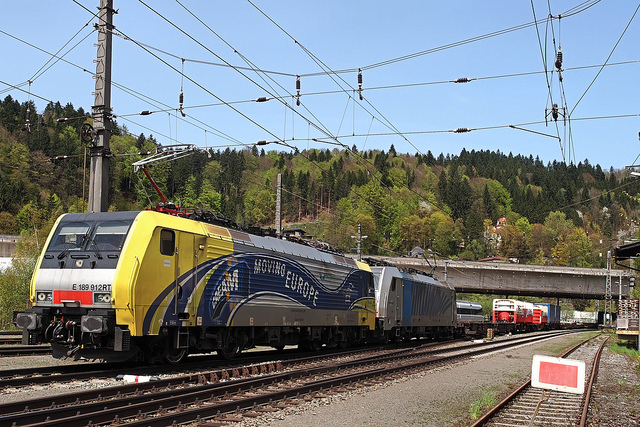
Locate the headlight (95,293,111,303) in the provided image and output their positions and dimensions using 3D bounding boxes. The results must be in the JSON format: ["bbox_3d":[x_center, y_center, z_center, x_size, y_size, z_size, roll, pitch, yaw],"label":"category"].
[{"bbox_3d":[-7.307,2.851,21.524,0.590,0.329,0.077,1,-1,23],"label":"headlight"}]

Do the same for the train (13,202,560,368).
[{"bbox_3d":[-0.107,4.957,37.391,4.299,5.952,39.343,-9,-13,25],"label":"train"}]

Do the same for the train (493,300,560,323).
[{"bbox_3d":[22.680,11.059,71.250,2.061,2.853,16.544,-5,-14,27],"label":"train"}]

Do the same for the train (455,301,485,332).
[{"bbox_3d":[13.370,9.602,61.052,1.764,2.499,8.088,8,-5,32],"label":"train"}]
